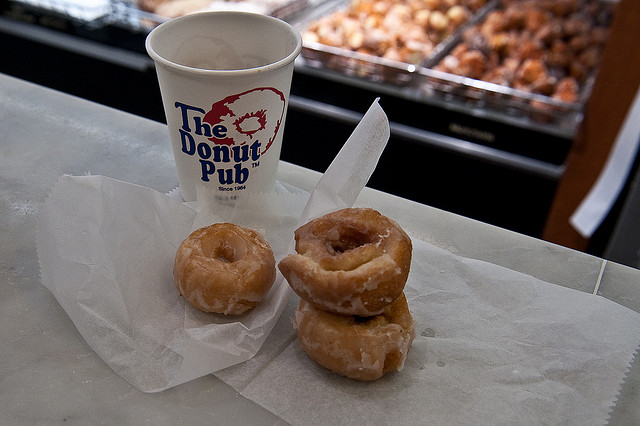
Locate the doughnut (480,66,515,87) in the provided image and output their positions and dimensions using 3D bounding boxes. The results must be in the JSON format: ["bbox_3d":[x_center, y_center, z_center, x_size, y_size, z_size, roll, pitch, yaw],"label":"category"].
[{"bbox_3d":[0.706,-0.549,2.168,0.130,0.058,0.113,22,35,17],"label":"doughnut"}]

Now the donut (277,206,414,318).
[{"bbox_3d":[0.061,0.092,1.163,0.275,0.108,0.272,-22,36,-23],"label":"donut"}]

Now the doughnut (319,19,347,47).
[{"bbox_3d":[0.055,-0.779,2.336,0.132,0.038,0.132,10,53,-1],"label":"doughnut"}]

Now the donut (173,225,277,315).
[{"bbox_3d":[-0.215,0.110,1.239,0.231,0.095,0.256,11,32,-10],"label":"donut"}]

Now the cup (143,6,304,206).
[{"bbox_3d":[-0.238,-0.249,1.322,0.341,0.415,0.301,1,34,-13],"label":"cup"}]

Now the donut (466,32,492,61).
[{"bbox_3d":[0.655,-0.703,2.273,0.111,0.061,0.131,21,35,16],"label":"donut"}]

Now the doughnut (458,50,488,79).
[{"bbox_3d":[0.612,-0.585,2.227,0.094,0.033,0.097,-11,-21,28],"label":"doughnut"}]
